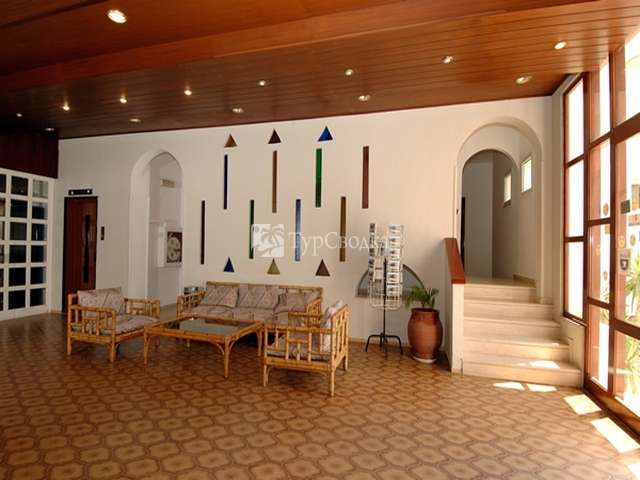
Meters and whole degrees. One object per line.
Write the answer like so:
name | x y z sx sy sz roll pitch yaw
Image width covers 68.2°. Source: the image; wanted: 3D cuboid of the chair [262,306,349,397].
chair | -0.161 1.446 7.006 1.136 1.097 1.412 3 11 12

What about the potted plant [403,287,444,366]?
potted plant | 1.706 1.407 7.834 0.641 1.150 0.870 3 11 13

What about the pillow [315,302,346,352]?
pillow | 0.128 1.194 6.657 0.145 0.543 0.450 10 -27 -2

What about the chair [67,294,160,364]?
chair | -3.418 1.352 7.930 0.925 0.984 1.261 2 0 16

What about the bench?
bench | -1.198 1.347 8.514 2.464 1.065 0.906 2 -3 11
